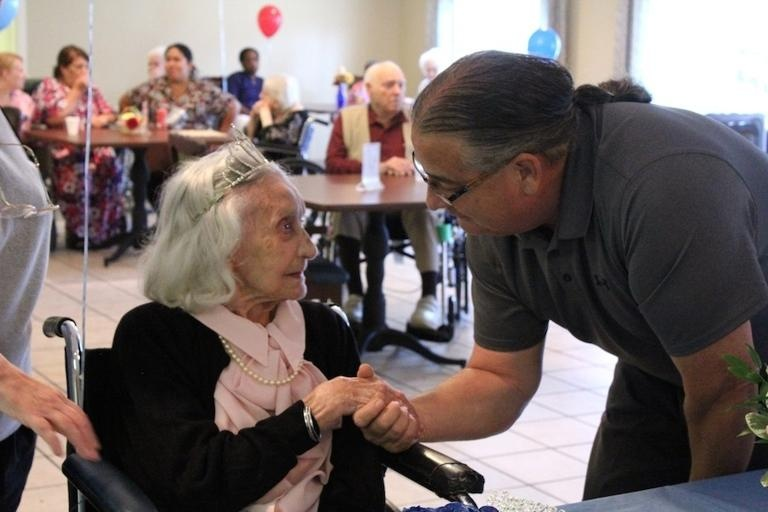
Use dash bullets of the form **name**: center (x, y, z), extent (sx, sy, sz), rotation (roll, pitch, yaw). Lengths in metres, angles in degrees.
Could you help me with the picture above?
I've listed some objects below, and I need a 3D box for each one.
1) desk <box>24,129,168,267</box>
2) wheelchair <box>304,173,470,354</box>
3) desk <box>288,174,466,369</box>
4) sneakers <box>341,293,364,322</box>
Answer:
- **desk**: center (-2.043, -0.431, 5.092), extent (1.136, 1.038, 1.110), rotation (-1, 8, -13)
- **wheelchair**: center (0.031, 0.040, 4.381), extent (1.210, 0.698, 1.186), rotation (-2, 7, -12)
- **desk**: center (-0.106, 0.063, 4.782), extent (1.230, 1.175, 1.204), rotation (-2, 7, -12)
- **sneakers**: center (-0.203, 0.362, 4.996), extent (0.122, 0.201, 0.198), rotation (2, 50, 0)
